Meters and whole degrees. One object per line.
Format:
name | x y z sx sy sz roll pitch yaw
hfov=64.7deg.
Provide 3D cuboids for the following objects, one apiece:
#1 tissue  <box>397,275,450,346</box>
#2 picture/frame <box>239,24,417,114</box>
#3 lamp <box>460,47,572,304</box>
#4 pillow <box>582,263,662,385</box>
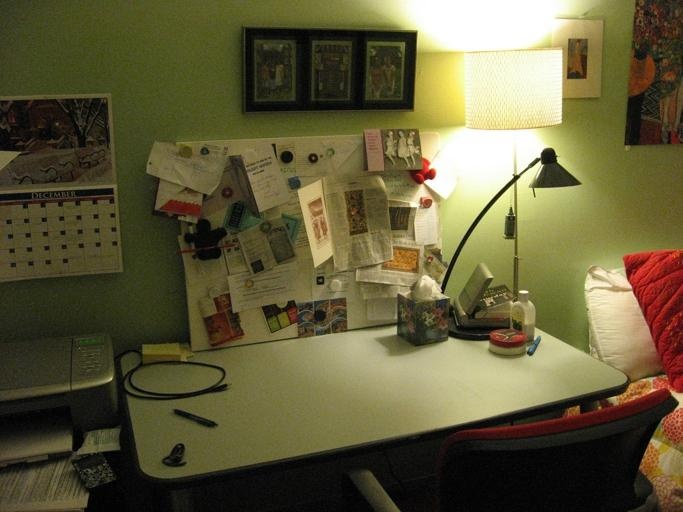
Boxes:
tissue  | 0.310 0.220 2.073 0.168 0.308 0.174 -7 17 -20
picture/frame | -0.036 -0.698 2.034 0.682 0.322 0.037 -7 11 -13
lamp | 0.752 -0.343 2.338 0.288 1.109 0.371 -33 39 -25
pillow | 1.291 0.345 2.615 0.271 0.536 0.551 16 8 37
